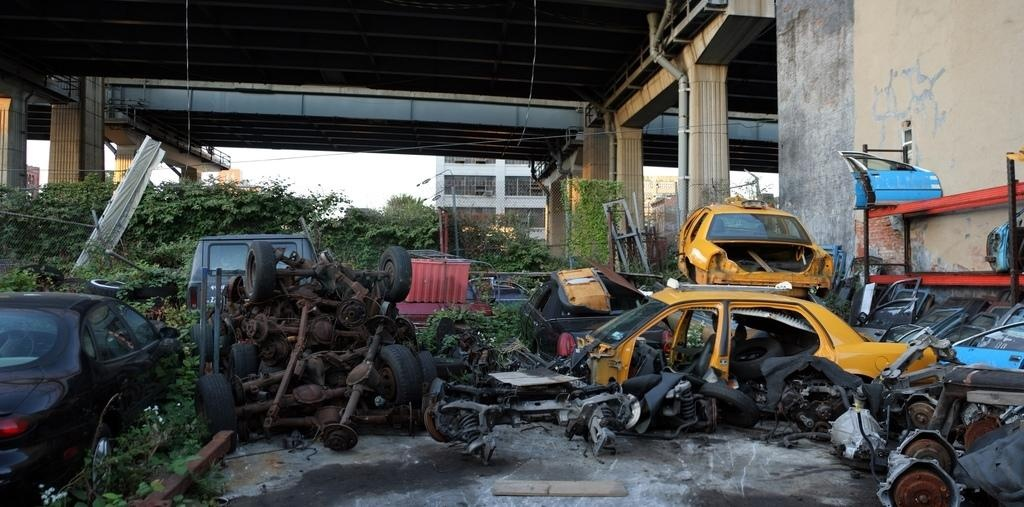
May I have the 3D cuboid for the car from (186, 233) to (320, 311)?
[{"bbox_3d":[-7.588,0.483,20.766,3.591,1.756,2.093,-2,-9,-40],"label":"car"}]
